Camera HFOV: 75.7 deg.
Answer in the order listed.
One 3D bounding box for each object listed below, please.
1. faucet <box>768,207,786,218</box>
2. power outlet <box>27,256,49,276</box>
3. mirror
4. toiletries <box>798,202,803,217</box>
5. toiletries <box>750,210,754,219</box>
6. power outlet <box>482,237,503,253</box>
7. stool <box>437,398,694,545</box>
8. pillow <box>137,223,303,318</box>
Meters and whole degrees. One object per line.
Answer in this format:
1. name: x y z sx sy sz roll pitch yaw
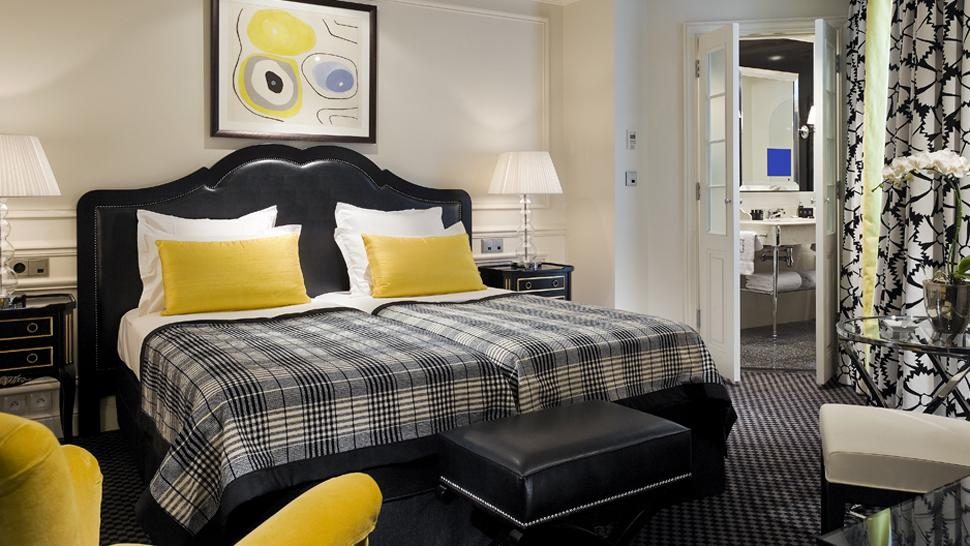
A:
1. faucet: 3.553 -0.733 7.563 0.170 0.105 0.116 2 -2 -8
2. power outlet: -3.288 -0.050 4.574 0.152 0.138 0.075 1 2 -21
3. mirror: 3.471 -1.753 7.607 0.814 1.410 0.393 -5 15 -19
4. toiletries: 3.869 -0.763 7.630 0.068 0.121 0.180 6 15 25
5. toiletries: 3.165 -0.687 7.365 0.021 0.097 0.059 3 14 13
6. power outlet: 0.070 -0.243 6.010 0.238 0.148 0.128 0 -1 -31
7. stool: 0.407 0.931 3.054 0.985 0.299 0.651 -2 -2 -30
8. pillow: -1.946 0.010 4.488 0.737 0.415 0.180 -4 -29 -25
